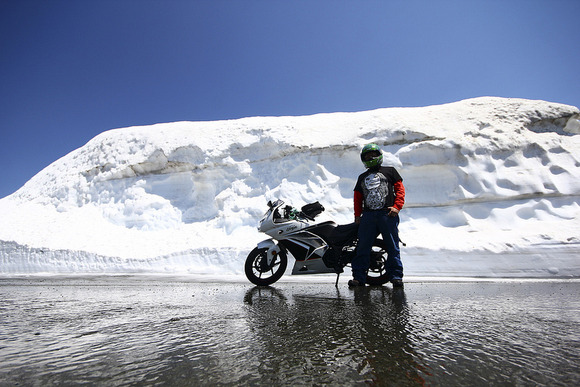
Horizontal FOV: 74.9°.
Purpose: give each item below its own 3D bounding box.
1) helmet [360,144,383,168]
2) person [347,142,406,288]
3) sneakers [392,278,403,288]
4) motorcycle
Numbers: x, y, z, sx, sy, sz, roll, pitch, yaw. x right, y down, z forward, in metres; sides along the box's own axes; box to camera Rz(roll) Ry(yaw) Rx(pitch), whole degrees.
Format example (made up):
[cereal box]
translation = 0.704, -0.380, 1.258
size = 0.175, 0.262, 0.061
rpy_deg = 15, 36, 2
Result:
[helmet]
translation = 1.379, -0.651, 6.380
size = 0.392, 0.424, 0.486
rpy_deg = -13, 2, 21
[person]
translation = 1.407, 0.331, 6.034
size = 0.804, 2.190, 1.020
rpy_deg = 2, 9, 14
[sneakers]
translation = 1.639, 1.374, 5.814
size = 0.080, 0.193, 0.081
rpy_deg = 5, -51, 3
[motorcycle]
translation = 0.564, 0.863, 6.415
size = 2.663, 1.293, 0.890
rpy_deg = 1, -6, 1
